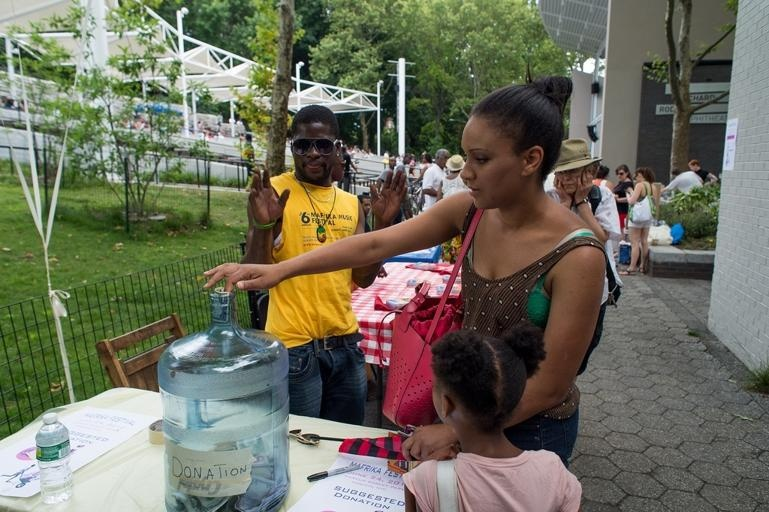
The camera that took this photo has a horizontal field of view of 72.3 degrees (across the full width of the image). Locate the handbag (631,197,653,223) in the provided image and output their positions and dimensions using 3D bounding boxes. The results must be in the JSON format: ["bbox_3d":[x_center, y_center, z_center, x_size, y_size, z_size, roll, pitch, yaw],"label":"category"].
[{"bbox_3d":[5.068,-0.919,10.391,0.420,0.615,0.317,0,9,-2],"label":"handbag"}]

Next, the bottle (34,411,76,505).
[{"bbox_3d":[-1.806,1.105,2.889,0.145,0.453,0.195,-4,10,-36],"label":"bottle"}]
